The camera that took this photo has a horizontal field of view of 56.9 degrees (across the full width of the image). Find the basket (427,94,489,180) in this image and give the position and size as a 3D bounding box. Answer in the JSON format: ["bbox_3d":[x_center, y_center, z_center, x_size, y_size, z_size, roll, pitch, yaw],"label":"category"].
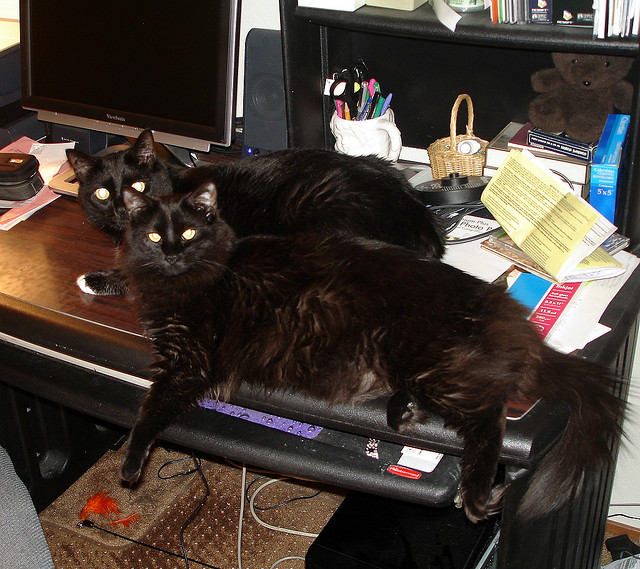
[{"bbox_3d":[0.360,-0.376,1.517,0.160,0.206,0.094,13,36,22],"label":"basket"}]

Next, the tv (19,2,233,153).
[{"bbox_3d":[-0.492,-0.543,1.530,0.555,0.319,0.146,10,22,15],"label":"tv"}]

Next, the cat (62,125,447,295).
[{"bbox_3d":[-0.176,-0.195,1.448,0.890,0.309,0.276,2,6,14],"label":"cat"}]

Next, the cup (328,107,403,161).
[{"bbox_3d":[0.142,-0.379,1.523,0.132,0.122,0.194,-35,45,-19],"label":"cup"}]

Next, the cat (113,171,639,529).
[{"bbox_3d":[-0.167,0.019,1.321,1.503,0.590,0.445,7,25,24],"label":"cat"}]
